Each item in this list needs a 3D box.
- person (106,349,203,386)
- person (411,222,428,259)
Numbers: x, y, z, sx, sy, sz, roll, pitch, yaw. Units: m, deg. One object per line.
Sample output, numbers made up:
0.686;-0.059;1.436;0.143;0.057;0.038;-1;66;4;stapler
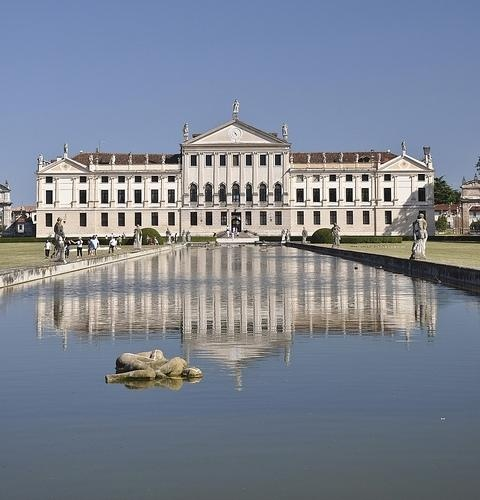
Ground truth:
-0.849;1.165;9.245;0.940;0.210;0.865;-1;3;-4;person
5.487;-0.347;28.458;0.429;1.219;0.692;0;3;10;person
